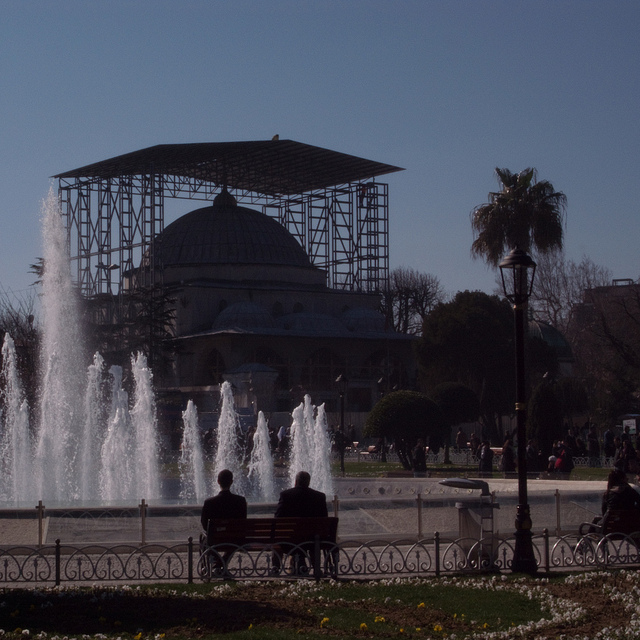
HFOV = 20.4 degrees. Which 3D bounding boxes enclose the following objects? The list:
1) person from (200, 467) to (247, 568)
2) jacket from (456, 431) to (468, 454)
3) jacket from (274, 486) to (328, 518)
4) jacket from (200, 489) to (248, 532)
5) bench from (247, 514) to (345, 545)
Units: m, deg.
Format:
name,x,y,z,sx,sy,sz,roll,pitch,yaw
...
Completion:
name,x,y,z,sx,sy,sz,roll,pitch,yaw
person,-1.198,2.488,21.776,0.550,1.200,0.613,0,-6,-4
jacket,3.624,3.245,46.488,0.241,0.491,0.742,-1,-6,5
jacket,-0.278,2.322,22.030,0.573,0.528,0.340,0,-4,1
jacket,-1.217,2.489,21.986,0.641,0.679,0.389,0,-7,-2
bench,-0.346,2.632,21.854,0.987,0.369,0.727,-3,-7,22
